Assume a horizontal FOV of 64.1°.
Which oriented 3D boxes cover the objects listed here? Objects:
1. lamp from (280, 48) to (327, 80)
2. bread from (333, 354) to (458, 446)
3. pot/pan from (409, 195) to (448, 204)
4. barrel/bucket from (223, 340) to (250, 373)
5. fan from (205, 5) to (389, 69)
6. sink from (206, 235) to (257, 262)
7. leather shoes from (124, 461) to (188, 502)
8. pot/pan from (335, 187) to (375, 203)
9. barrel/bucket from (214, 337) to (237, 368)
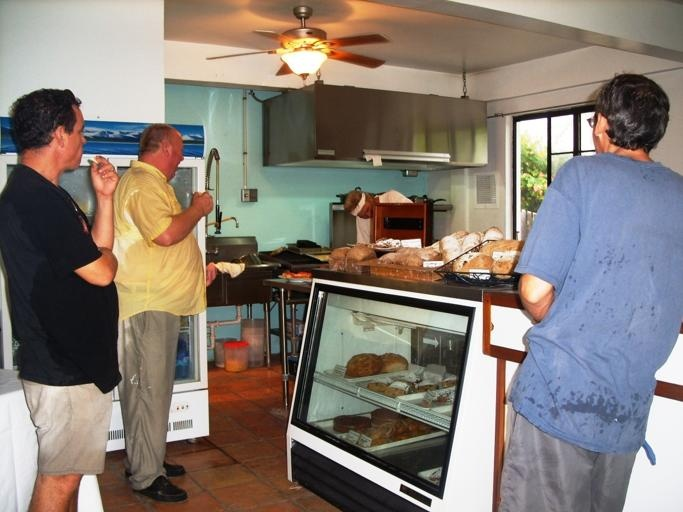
[{"bbox_3d":[-0.308,-1.530,4.331,0.236,0.095,0.230,0,0,-15],"label":"lamp"},{"bbox_3d":[0.249,0.675,2.570,0.132,0.397,0.575,11,-6,-41],"label":"bread"},{"bbox_3d":[1.042,-0.696,6.558,0.380,0.120,1.379,1,4,13],"label":"pot/pan"},{"bbox_3d":[-1.038,0.975,5.332,0.228,0.281,0.224,0,4,0],"label":"barrel/bucket"},{"bbox_3d":[-0.192,-1.623,4.250,0.887,0.342,0.897,5,5,36],"label":"fan"},{"bbox_3d":[-1.150,-0.083,5.651,0.539,0.340,0.269,0,-1,-29],"label":"sink"},{"bbox_3d":[-1.018,1.238,2.992,0.471,0.178,0.159,-1,-4,24],"label":"leather shoes"},{"bbox_3d":[0.136,-0.714,6.403,0.352,0.125,0.254,0,0,-6],"label":"pot/pan"},{"bbox_3d":[-1.203,0.996,5.498,0.252,0.272,0.256,1,-3,0],"label":"barrel/bucket"}]
